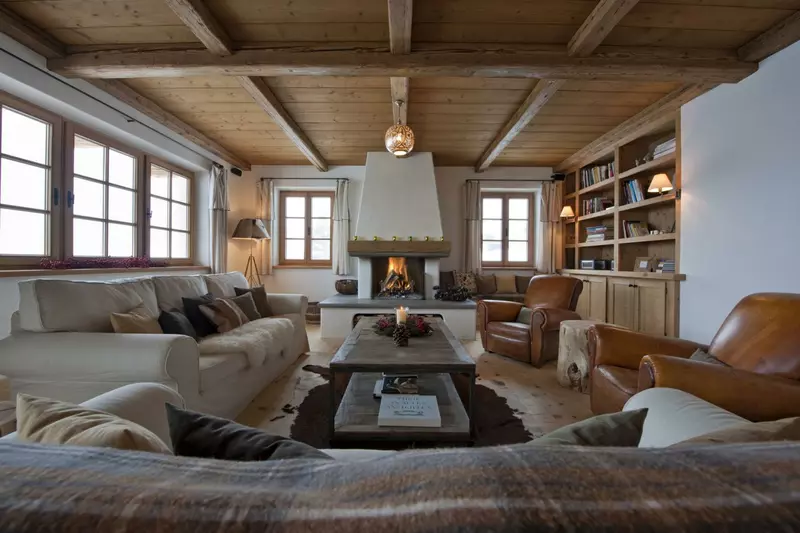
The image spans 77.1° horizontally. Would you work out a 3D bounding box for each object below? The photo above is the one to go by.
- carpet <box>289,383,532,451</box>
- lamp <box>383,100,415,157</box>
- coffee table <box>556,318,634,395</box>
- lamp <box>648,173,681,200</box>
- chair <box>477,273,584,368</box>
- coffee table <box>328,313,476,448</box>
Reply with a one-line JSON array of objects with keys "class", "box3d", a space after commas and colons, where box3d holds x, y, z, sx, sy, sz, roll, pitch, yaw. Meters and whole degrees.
[{"class": "carpet", "box3d": [0.397, 1.238, 4.315, 1.254, 0.096, 1.084, -1, 6, 39]}, {"class": "lamp", "box3d": [-0.009, -1.451, 5.218, 0.345, 0.498, 0.269, 0, 7, 4]}, {"class": "coffee table", "box3d": [1.853, 0.825, 4.734, 0.699, 0.553, 0.590, -1, -1, 8]}, {"class": "lamp", "box3d": [2.968, -0.892, 5.653, 0.302, 0.310, 0.615, 0, 1, 25]}, {"class": "chair", "box3d": [1.431, 0.519, 5.542, 0.989, 0.709, 1.032, 3, 10, 36]}, {"class": "coffee table", "box3d": [0.026, 0.813, 4.449, 1.101, 0.404, 2.012, -1, 6, 0]}]
